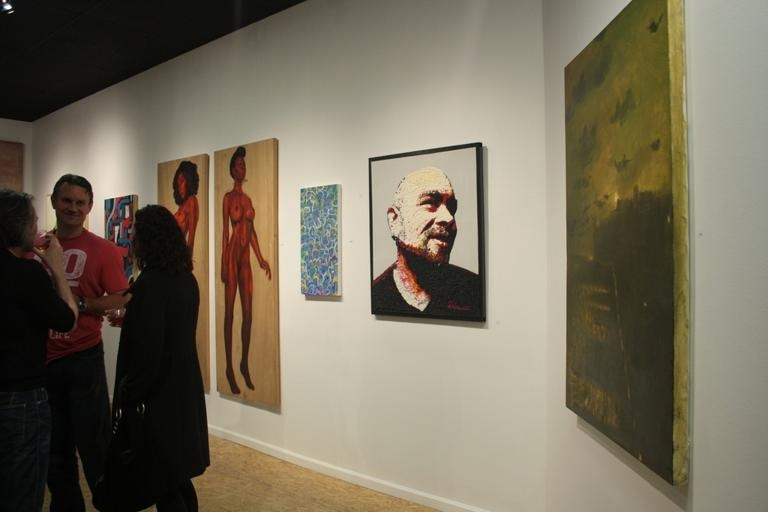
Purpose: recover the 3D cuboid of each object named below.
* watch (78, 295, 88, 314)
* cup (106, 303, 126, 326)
[{"bbox_3d":[-2.127,0.334,4.219,0.098,0.119,0.074,4,6,43],"label":"watch"},{"bbox_3d":[-1.940,0.411,4.274,0.053,0.157,0.119,27,8,17],"label":"cup"}]
